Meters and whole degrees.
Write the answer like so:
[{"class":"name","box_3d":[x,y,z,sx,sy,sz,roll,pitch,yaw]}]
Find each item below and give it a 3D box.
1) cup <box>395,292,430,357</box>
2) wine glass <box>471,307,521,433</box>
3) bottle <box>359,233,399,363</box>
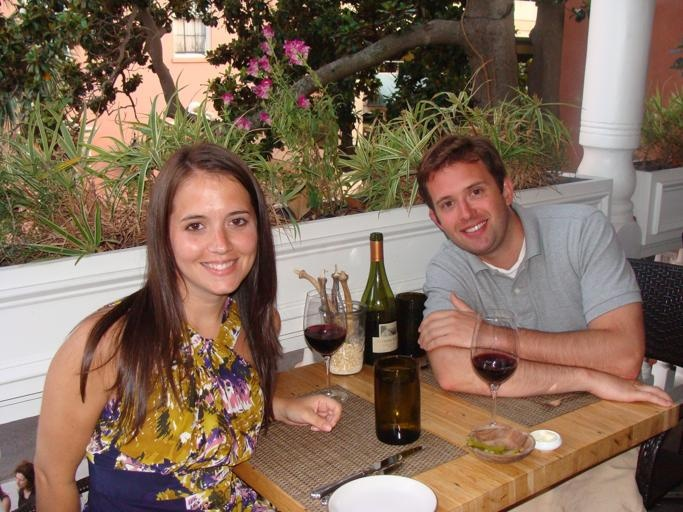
[{"class":"cup","box_3d":[0.245,0.244,1.767,0.104,0.205,0.080,-4,12,10]},{"class":"wine glass","box_3d":[0.425,0.295,1.373,0.117,0.301,0.257,-3,12,18]},{"class":"bottle","box_3d":[0.119,0.135,1.695,0.126,0.437,0.209,-5,12,6]}]
